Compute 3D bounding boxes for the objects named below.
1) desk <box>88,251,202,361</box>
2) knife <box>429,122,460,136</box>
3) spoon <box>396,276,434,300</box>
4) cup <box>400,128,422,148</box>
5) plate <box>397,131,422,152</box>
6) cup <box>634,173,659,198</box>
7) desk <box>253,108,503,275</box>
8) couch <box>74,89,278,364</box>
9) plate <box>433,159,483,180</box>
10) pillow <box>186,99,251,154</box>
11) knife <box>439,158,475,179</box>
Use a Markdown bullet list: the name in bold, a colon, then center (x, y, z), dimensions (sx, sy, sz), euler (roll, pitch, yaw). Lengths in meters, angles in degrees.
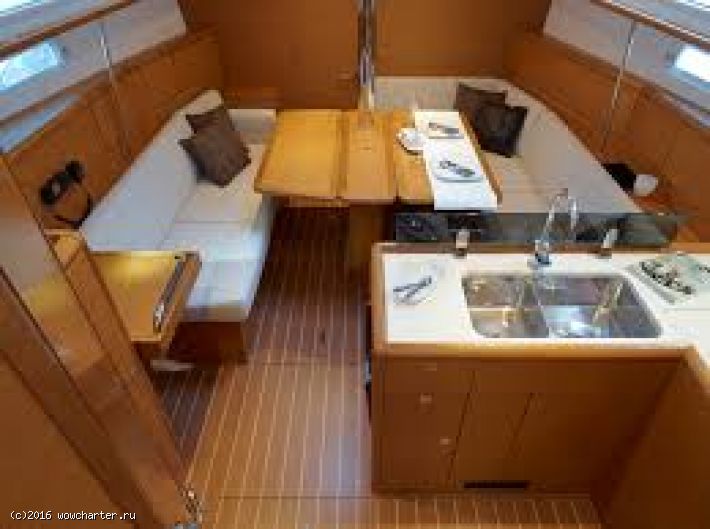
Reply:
- **desk**: center (-1.004, 0.163, 2.037), dimensions (0.496, 0.242, 0.481), euler (4, 41, 7)
- **knife**: center (0.625, -0.953, 3.218), dimensions (0.224, 0.058, 0.077), euler (23, 55, 21)
- **spoon**: center (0.264, 0.101, 1.982), dimensions (0.182, 0.055, 0.068), euler (-26, 53, -28)
- **cup**: center (0.373, -0.868, 3.107), dimensions (0.128, 0.073, 0.188), euler (-4, 43, -2)
- **plate**: center (0.371, -0.828, 3.073), dimensions (0.166, 0.059, 0.151), euler (-3, 51, -5)
- **cup**: center (1.624, -0.432, 2.553), dimensions (0.103, 0.116, 0.071), euler (17, 44, 22)
- **desk**: center (0.065, -0.361, 3.392), dimensions (1.323, 0.886, 1.232), euler (1, 48, -2)
- **couch**: center (-1.009, -0.202, 2.543), dimensions (0.598, 0.676, 1.902), euler (1, 45, -2)
- **plate**: center (0.619, -0.575, 2.803), dimensions (0.203, 0.019, 0.150), euler (8, 41, 11)
- **pillow**: center (-1.097, -1.118, 3.435), dimensions (0.395, 0.120, 0.457), euler (17, 28, -12)
- **knife**: center (0.621, -0.597, 2.825), dimensions (0.088, 0.031, 0.282), euler (-30, 51, -23)
